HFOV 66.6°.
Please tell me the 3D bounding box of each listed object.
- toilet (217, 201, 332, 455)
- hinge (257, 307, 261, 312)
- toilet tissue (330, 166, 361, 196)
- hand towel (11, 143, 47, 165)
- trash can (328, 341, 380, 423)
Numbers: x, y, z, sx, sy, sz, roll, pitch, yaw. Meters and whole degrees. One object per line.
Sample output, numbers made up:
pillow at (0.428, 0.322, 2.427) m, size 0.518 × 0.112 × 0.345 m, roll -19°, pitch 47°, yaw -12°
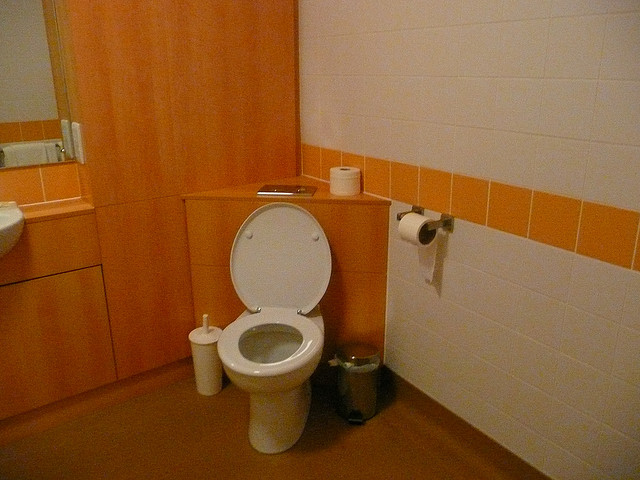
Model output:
toilet at (-0.196, 0.399, 2.235) m, size 0.495 × 1.013 × 0.602 m, roll 0°, pitch 21°, yaw 1°
hinge at (-0.294, 0.334, 2.342) m, size 0.017 × 0.019 × 0.013 m, roll 10°, pitch -28°, yaw -29°
toilet tissue at (0.127, -0.310, 2.479) m, size 0.164 × 0.135 × 0.167 m, roll 16°, pitch 28°, yaw 36°
hand towel at (-1.363, -0.407, 2.292) m, size 0.102 × 0.108 × 0.024 m, roll -8°, pitch 22°, yaw -36°
trash can at (0.178, 0.696, 2.509) m, size 0.287 × 0.357 × 0.314 m, roll 0°, pitch 10°, yaw -1°
